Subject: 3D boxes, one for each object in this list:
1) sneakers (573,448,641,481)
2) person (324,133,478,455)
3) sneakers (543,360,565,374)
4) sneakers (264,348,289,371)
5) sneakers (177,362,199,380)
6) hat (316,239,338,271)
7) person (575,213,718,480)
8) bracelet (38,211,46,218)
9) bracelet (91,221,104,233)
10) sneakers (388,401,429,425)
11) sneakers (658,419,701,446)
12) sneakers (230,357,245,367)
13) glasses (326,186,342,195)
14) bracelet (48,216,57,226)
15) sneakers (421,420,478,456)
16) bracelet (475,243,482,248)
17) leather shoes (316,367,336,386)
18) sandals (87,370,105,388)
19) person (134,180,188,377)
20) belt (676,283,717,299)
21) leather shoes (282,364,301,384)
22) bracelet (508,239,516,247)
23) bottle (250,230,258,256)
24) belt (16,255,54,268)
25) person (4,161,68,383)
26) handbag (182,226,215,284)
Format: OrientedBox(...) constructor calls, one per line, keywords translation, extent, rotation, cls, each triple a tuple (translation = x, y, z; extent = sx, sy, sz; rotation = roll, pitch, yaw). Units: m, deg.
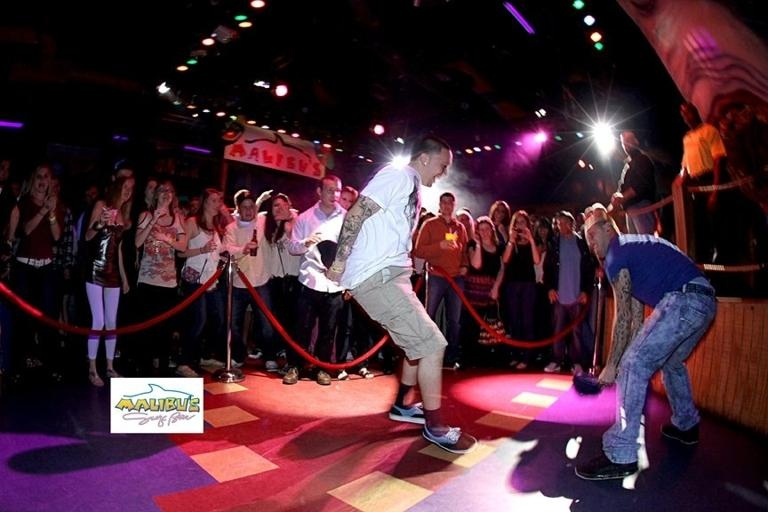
OrientedBox(translation=(1.856, 1.753, 3.833), extent=(0.542, 0.201, 0.201), rotation=(2, -16, 4), cls="sneakers")
OrientedBox(translation=(0.195, 0.297, 4.266), extent=(1.239, 2.831, 0.642), rotation=(3, 7, 10), cls="person")
OrientedBox(translation=(2.491, 1.638, 6.662), extent=(0.279, 0.169, 0.123), rotation=(9, -10, -14), cls="sneakers")
OrientedBox(translation=(-1.544, 1.526, 6.485), extent=(0.216, 0.242, 0.614), rotation=(6, -20, -17), cls="sneakers")
OrientedBox(translation=(-2.506, 1.454, 5.721), extent=(0.348, 0.127, 0.241), rotation=(17, -15, -33), cls="sneakers")
OrientedBox(translation=(-0.701, -0.037, 5.514), extent=(0.315, 0.339, 0.405), rotation=(-3, -10, 7), cls="hat")
OrientedBox(translation=(2.269, 0.714, 4.061), extent=(1.437, 2.170, 0.840), rotation=(-3, 8, -32), cls="person")
OrientedBox(translation=(-4.137, -0.506, 5.448), extent=(0.112, 0.036, 0.030), rotation=(-23, -38, 14), cls="bracelet")
OrientedBox(translation=(-3.444, -0.355, 5.436), extent=(0.115, 0.115, 0.037), rotation=(40, -3, -14), cls="bracelet")
OrientedBox(translation=(0.243, 1.588, 4.596), extent=(0.421, 0.181, 0.159), rotation=(0, -16, 15), cls="sneakers")
OrientedBox(translation=(2.861, 1.667, 4.441), extent=(0.169, 0.238, 0.333), rotation=(0, 10, -31), cls="sneakers")
OrientedBox(translation=(-2.014, 1.466, 6.210), extent=(0.116, 0.128, 0.154), rotation=(-8, -40, 11), cls="sneakers")
OrientedBox(translation=(-0.646, -0.858, 5.733), extent=(0.124, 0.143, 0.151), rotation=(6, -6, -31), cls="glasses")
OrientedBox(translation=(-4.094, -0.457, 5.583), extent=(0.086, 0.115, 0.040), rotation=(-16, 20, -17), cls="bracelet")
OrientedBox(translation=(0.586, 1.642, 4.091), extent=(0.447, 0.166, 0.207), rotation=(8, 3, 18), cls="sneakers")
OrientedBox(translation=(1.453, -0.156, 6.961), extent=(0.071, 0.053, 0.071), rotation=(14, -5, -4), cls="bracelet")
OrientedBox(translation=(-0.748, 1.529, 5.755), extent=(0.235, 0.217, 0.372), rotation=(8, -20, -17), cls="leather shoes")
OrientedBox(translation=(-3.448, 1.450, 5.375), extent=(0.320, 0.139, 0.114), rotation=(-1, -8, 44), cls="sandals")
OrientedBox(translation=(-2.880, 0.271, 5.796), extent=(0.656, 2.447, 0.768), rotation=(-3, 8, -29), cls="person")
OrientedBox(translation=(2.682, 0.277, 3.877), extent=(0.149, 0.082, 0.184), rotation=(9, -6, -43), cls="belt")
OrientedBox(translation=(-1.193, 1.510, 5.740), extent=(0.173, 0.179, 0.251), rotation=(1, 7, -1), cls="leather shoes")
OrientedBox(translation=(1.966, -0.222, 6.970), extent=(0.074, 0.080, 0.078), rotation=(8, 18, -10), cls="bracelet")
OrientedBox(translation=(-1.775, -0.183, 6.140), extent=(0.087, 0.331, 0.569), rotation=(-1, 7, -17), cls="bottle")
OrientedBox(translation=(-4.248, 0.067, 5.477), extent=(0.182, 0.072, 0.173), rotation=(12, 17, -39), cls="belt")
OrientedBox(translation=(-4.283, 0.149, 5.565), extent=(0.572, 2.540, 0.842), rotation=(-3, 8, -30), cls="person")
OrientedBox(translation=(-2.498, 0.033, 6.138), extent=(0.391, 0.724, 0.507), rotation=(12, -3, 10), cls="handbag")
